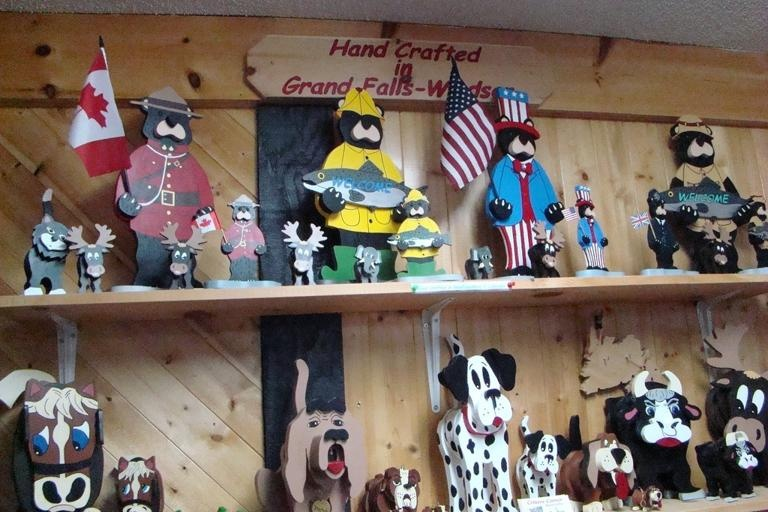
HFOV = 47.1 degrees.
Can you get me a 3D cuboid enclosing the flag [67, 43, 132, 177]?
[{"bbox_3d":[-0.973,-0.509,2.994,0.194,0.473,0.091,1,-7,-26],"label":"flag"}]
